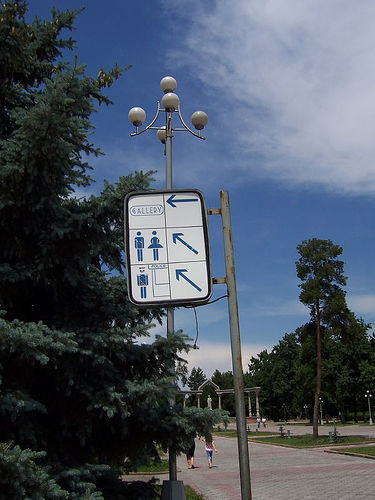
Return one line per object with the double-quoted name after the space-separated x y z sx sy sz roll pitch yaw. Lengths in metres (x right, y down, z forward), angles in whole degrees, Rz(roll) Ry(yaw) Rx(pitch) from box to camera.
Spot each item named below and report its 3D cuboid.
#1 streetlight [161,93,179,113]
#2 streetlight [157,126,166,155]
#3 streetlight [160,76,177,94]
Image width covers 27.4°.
-0.309 -2.613 13.655 0.281 0.448 0.386 -2 -10 0 "streetlight"
-0.480 -2.138 14.607 0.091 0.302 0.290 3 -11 -25 "streetlight"
-0.325 -2.924 13.780 0.250 0.397 0.395 -1 -10 -5 "streetlight"
